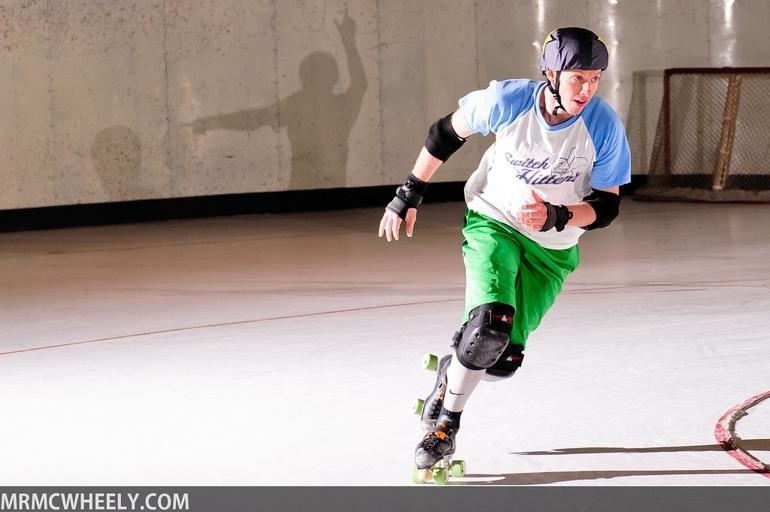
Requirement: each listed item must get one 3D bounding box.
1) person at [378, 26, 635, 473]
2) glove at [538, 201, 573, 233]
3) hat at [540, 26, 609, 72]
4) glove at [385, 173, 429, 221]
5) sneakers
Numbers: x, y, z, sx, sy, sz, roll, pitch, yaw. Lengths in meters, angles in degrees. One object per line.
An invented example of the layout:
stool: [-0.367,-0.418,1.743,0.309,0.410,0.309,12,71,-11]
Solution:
person: [0.492,-0.049,2.565,0.878,1.625,0.681,-3,12,-7]
glove: [0.606,-0.138,2.332,0.096,0.110,0.097,3,-9,-6]
hat: [0.691,-0.759,2.387,0.223,0.167,0.192,0,12,8]
glove: [0.104,-0.239,2.746,0.132,0.211,0.077,29,-14,22]
sneakers: [0.239,0.606,2.537,0.129,0.387,0.166,16,-7,-6]
